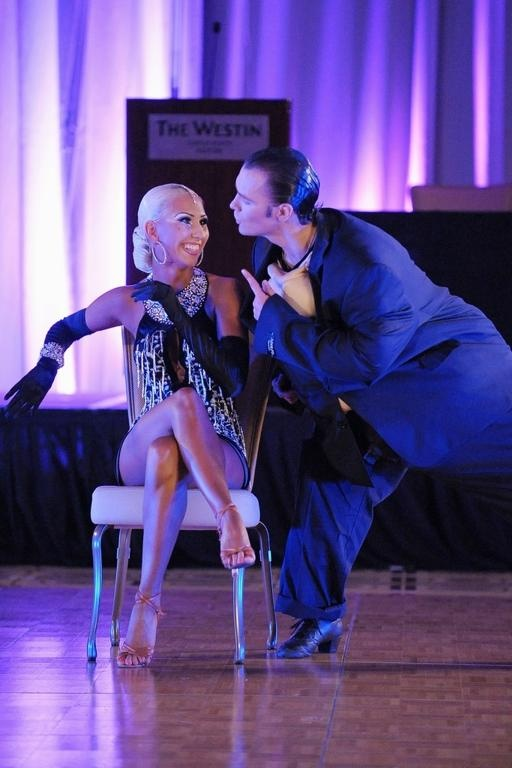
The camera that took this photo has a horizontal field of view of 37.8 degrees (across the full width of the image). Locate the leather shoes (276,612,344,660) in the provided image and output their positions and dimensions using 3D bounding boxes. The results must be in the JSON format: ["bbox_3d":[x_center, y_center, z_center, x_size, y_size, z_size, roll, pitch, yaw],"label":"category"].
[{"bbox_3d":[0.121,0.560,1.694,0.170,0.085,0.063,7,-13,-33],"label":"leather shoes"}]

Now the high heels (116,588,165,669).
[{"bbox_3d":[-0.226,0.496,1.519,0.070,0.178,0.075,7,-15,0],"label":"high heels"}]

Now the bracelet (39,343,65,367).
[{"bbox_3d":[-0.502,-0.075,1.856,0.058,0.061,0.026,-5,-9,-36],"label":"bracelet"}]

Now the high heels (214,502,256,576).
[{"bbox_3d":[-0.040,0.305,1.486,0.056,0.140,0.058,-15,-18,9],"label":"high heels"}]
